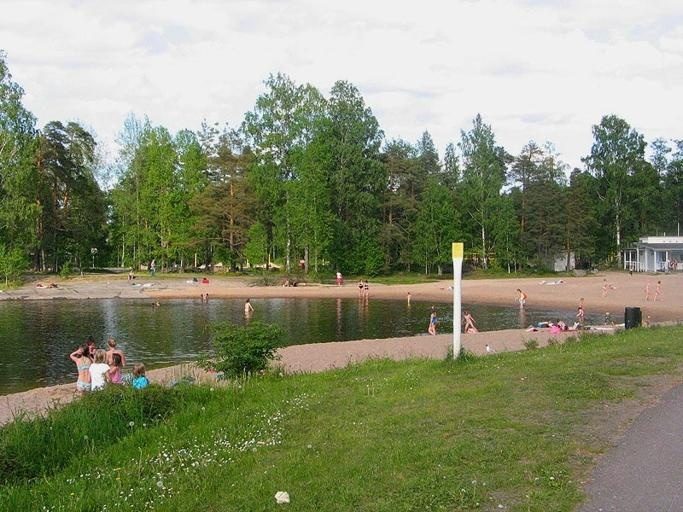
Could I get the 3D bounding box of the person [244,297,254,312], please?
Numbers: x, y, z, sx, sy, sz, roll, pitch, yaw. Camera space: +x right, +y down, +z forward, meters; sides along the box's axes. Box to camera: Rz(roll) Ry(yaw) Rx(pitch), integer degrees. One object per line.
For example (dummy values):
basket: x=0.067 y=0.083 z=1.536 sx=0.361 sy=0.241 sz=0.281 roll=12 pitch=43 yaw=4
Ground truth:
person: x=-6.813 y=3.559 z=57.765 sx=0.587 sy=1.172 sz=0.397 roll=8 pitch=13 yaw=25
